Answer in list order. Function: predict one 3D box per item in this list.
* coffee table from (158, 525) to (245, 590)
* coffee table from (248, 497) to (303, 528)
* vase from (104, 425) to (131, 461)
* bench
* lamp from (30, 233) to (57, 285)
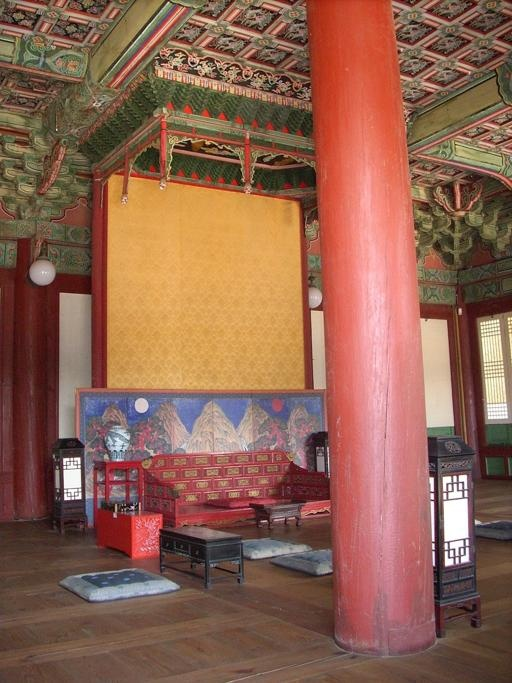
[{"bbox_3d":[-0.345,1.342,3.658,0.275,0.257,0.573,8,-13,-36],"label":"coffee table"},{"bbox_3d":[0.218,1.714,5.767,0.493,0.229,0.411,0,-7,-20],"label":"coffee table"},{"bbox_3d":[-1.411,1.048,5.971,0.340,0.397,0.322,1,-10,-5],"label":"vase"},{"bbox_3d":[-0.156,1.612,6.326,2.012,0.718,0.740,7,-9,-41],"label":"bench"},{"bbox_3d":[-2.500,-0.961,6.985,0.368,0.607,0.344,3,-9,-35],"label":"lamp"}]
